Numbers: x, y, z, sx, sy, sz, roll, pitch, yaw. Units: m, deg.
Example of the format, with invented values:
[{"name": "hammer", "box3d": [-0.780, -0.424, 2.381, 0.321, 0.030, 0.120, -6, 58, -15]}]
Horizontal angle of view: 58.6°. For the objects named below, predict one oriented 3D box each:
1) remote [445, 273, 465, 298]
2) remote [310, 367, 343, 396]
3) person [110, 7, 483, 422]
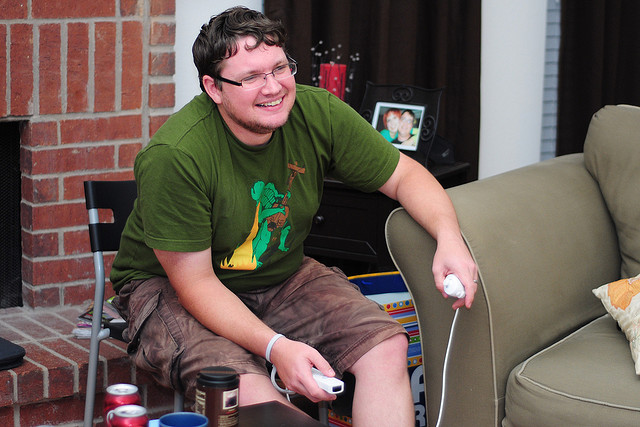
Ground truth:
[{"name": "remote", "box3d": [0.360, 0.198, 1.541, 0.031, 0.055, 0.042, -7, 8, -42]}, {"name": "remote", "box3d": [0.020, 0.399, 1.337, 0.030, 0.037, 0.134, -6, 16, -28]}, {"name": "person", "box3d": [-0.107, -0.021, 1.608, 1.007, 1.107, 0.648, -4, 6, -15]}]
